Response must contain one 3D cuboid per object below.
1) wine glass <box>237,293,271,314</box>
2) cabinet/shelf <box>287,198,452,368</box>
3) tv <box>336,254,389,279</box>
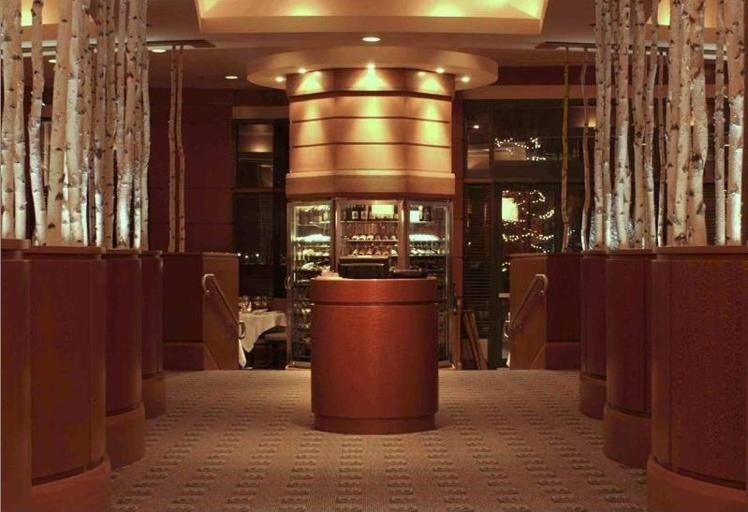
[{"bbox_3d":[-1.827,0.725,10.699,0.179,0.235,0.630,-1,-8,4],"label":"wine glass"},{"bbox_3d":[-0.078,0.738,10.919,2.816,3.020,2.213,0,-1,0],"label":"cabinet/shelf"},{"bbox_3d":[-0.086,0.093,6.038,0.446,0.181,0.212,-1,1,2],"label":"tv"}]
